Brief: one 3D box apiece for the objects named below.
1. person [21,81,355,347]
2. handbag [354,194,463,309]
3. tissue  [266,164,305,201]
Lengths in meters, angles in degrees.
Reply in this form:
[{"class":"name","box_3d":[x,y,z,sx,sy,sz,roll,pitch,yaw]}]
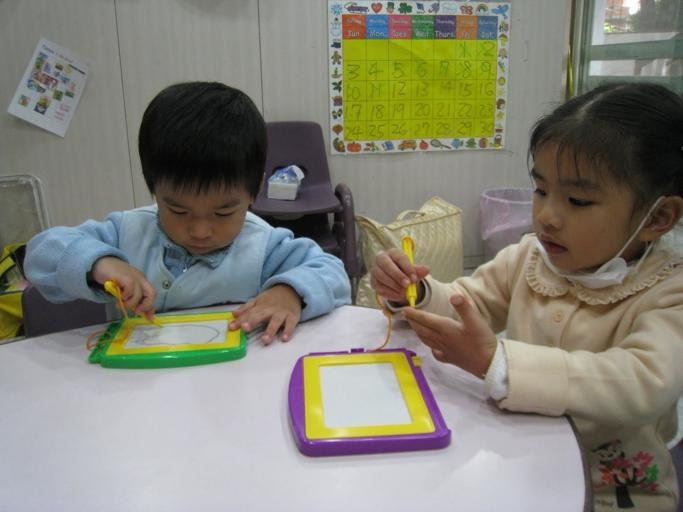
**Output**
[{"class":"person","box_3d":[-0.332,0.002,1.278,0.697,0.548,0.589,2,22,-7]},{"class":"handbag","box_3d":[0.240,-0.023,1.861,0.435,0.390,0.157,-15,24,-36]},{"class":"tissue ","box_3d":[-0.268,-0.347,2.384,0.115,0.105,0.203,1,26,3]}]
